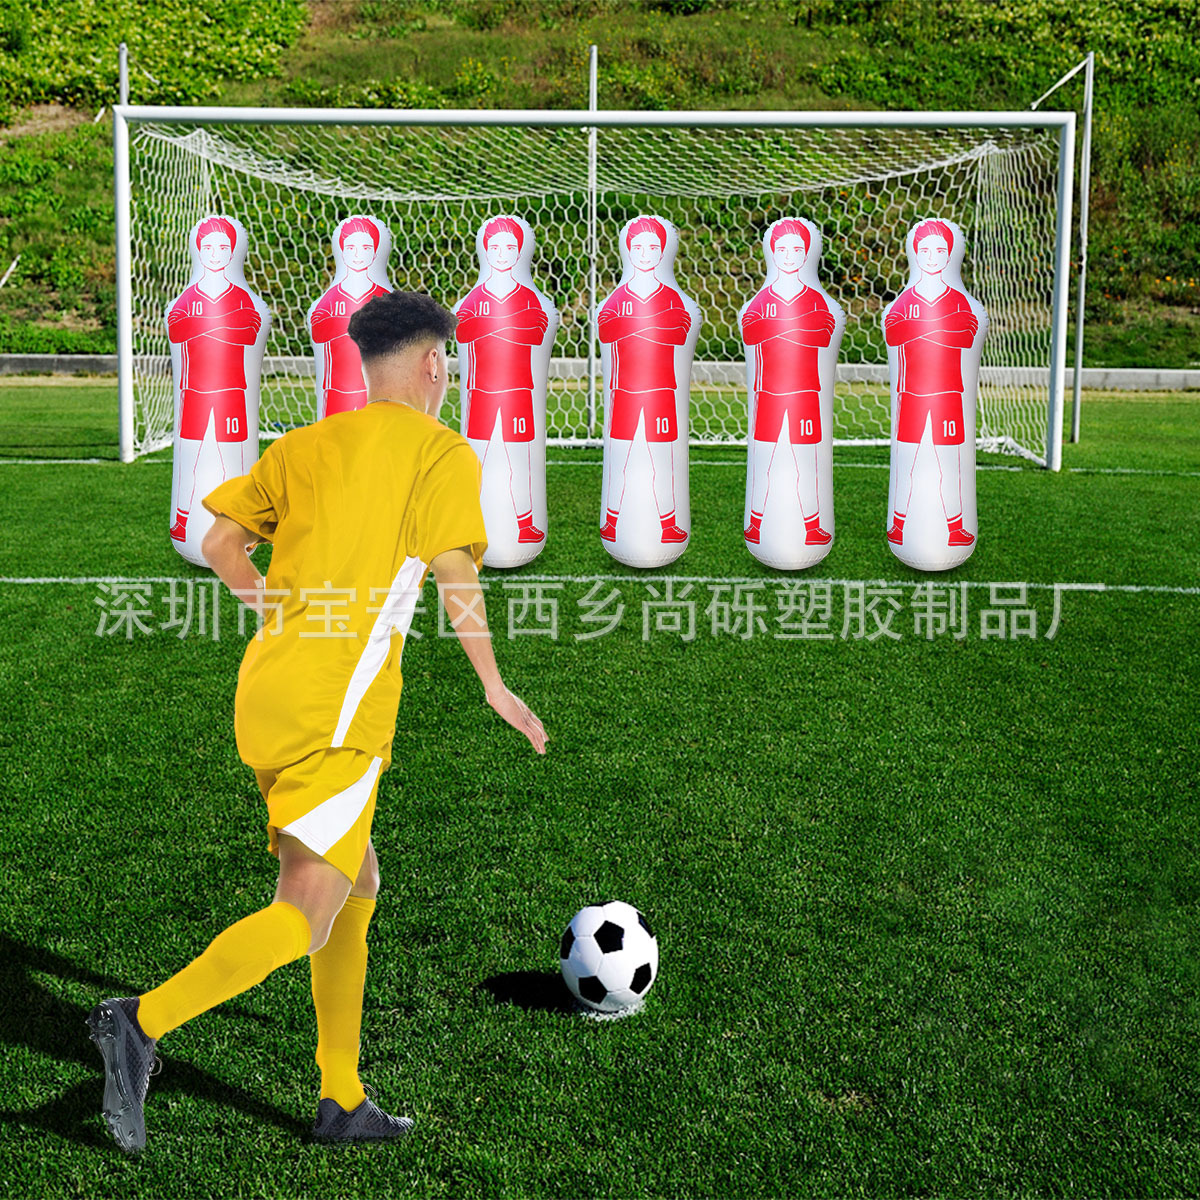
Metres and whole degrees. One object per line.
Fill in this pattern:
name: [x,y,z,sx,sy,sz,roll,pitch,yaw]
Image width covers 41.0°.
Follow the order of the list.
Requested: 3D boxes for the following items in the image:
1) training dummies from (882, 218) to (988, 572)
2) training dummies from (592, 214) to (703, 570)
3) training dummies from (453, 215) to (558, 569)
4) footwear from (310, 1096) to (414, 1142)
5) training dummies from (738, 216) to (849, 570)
training dummies: [1.403,-0.800,6.866,0.634,1.600,0.349,-1,8,-8]
training dummies: [0.224,-0.842,6.513,0.359,1.530,0.365,-1,22,-2]
training dummies: [-0.382,-0.871,6.691,0.432,1.499,0.339,-1,0,-7]
footwear: [-0.583,1.269,3.906,0.249,0.123,0.093,1,-3,-15]
training dummies: [0.771,-0.803,6.531,0.366,1.534,0.399,3,18,2]
